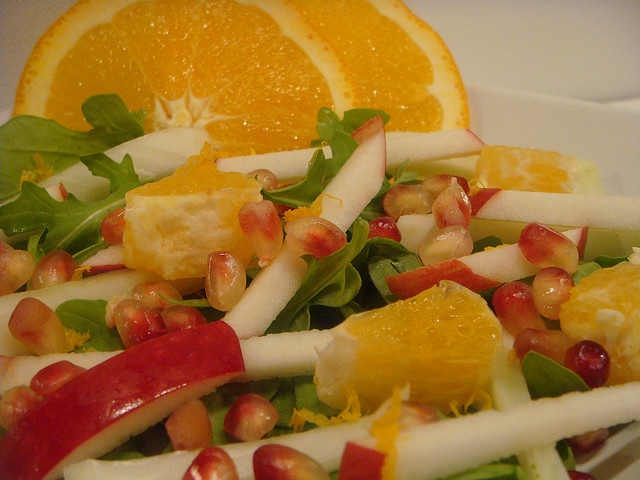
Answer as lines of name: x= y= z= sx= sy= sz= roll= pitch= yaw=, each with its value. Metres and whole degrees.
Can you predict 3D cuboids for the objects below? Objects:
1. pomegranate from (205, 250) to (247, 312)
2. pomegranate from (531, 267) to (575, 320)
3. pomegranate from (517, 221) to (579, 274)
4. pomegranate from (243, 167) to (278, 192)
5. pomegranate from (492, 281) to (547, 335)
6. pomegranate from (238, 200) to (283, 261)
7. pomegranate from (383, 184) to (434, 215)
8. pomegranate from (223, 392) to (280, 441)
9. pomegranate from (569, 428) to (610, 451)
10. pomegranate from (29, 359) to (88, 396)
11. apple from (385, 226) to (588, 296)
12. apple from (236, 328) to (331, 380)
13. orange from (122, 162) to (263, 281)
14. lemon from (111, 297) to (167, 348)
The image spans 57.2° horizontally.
pomegranate: x=-0.163 y=0.075 z=1.048 sx=0.071 sy=0.100 sz=0.059 roll=2 pitch=-13 yaw=5
pomegranate: x=0.420 y=0.107 z=1.061 sx=0.070 sy=0.101 sz=0.052 roll=3 pitch=24 yaw=24
pomegranate: x=0.424 y=0.013 z=1.092 sx=0.099 sy=0.077 sz=0.033 roll=39 pitch=16 yaw=2
pomegranate: x=-0.117 y=-0.134 z=1.283 sx=0.048 sy=0.036 sz=0.063 roll=16 pitch=9 yaw=-11
pomegranate: x=0.358 y=0.125 z=1.045 sx=0.056 sy=0.087 sz=0.052 roll=-35 pitch=-15 yaw=21
pomegranate: x=-0.106 y=-0.009 z=1.089 sx=0.077 sy=0.122 sz=0.049 roll=-12 pitch=22 yaw=-12
pomegranate: x=0.190 y=-0.086 z=1.263 sx=0.107 sy=0.061 sz=0.054 roll=-7 pitch=22 yaw=1
pomegranate: x=-0.116 y=0.304 z=0.994 sx=0.120 sy=0.052 sz=0.081 roll=-6 pitch=14 yaw=-33
pomegranate: x=0.450 y=0.334 z=0.979 sx=0.047 sy=0.019 sz=0.051 roll=-29 pitch=-18 yaw=32
pomegranate: x=-0.446 y=0.235 z=1.015 sx=0.098 sy=0.052 sz=0.076 roll=-31 pitch=10 yaw=-25
apple: x=0.298 y=0.056 z=1.039 sx=0.287 sy=0.124 sz=0.170 roll=-4 pitch=18 yaw=-17
apple: x=-0.060 y=0.194 z=1.040 sx=0.200 sy=0.063 sz=0.065 roll=-4 pitch=18 yaw=-10
orange: x=-0.249 y=-0.035 z=1.176 sx=0.258 sy=0.169 sz=0.269 roll=3 pitch=10 yaw=32
lemon: x=-0.321 y=0.145 z=1.028 sx=0.081 sy=0.089 sz=0.047 roll=-22 pitch=1 yaw=-29
